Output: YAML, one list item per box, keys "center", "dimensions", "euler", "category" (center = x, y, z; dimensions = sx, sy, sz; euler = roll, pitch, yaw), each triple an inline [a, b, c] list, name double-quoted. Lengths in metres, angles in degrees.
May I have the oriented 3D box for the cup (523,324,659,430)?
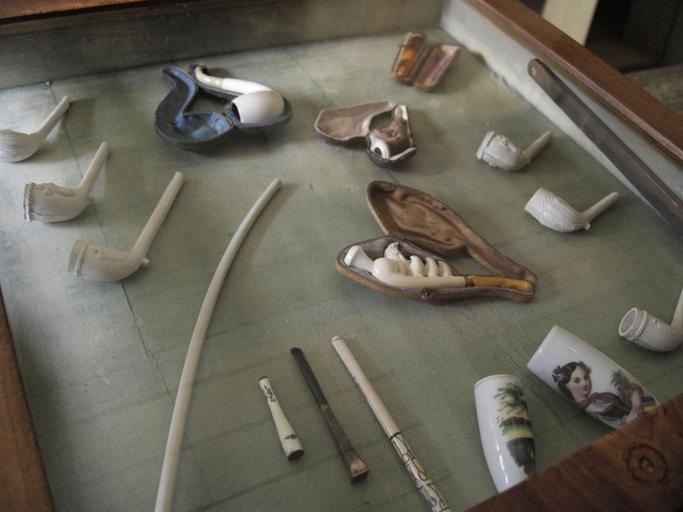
- center: [0.503, 0.219, 1.234]
  dimensions: [0.227, 0.148, 0.143]
  euler: [44, 50, -10]
  category: "cup"
